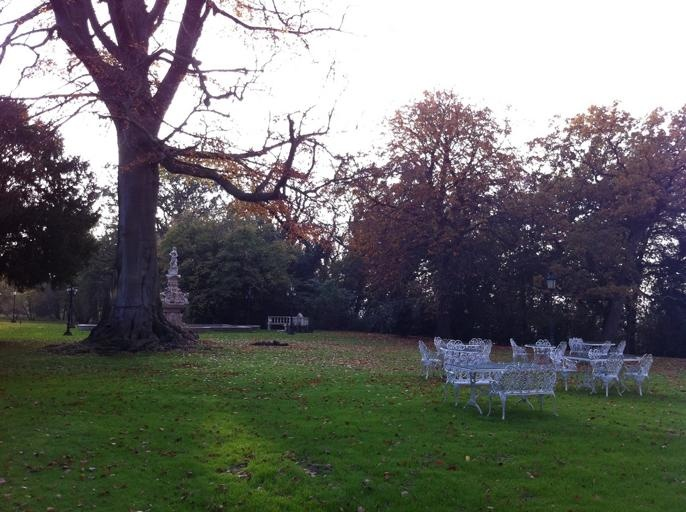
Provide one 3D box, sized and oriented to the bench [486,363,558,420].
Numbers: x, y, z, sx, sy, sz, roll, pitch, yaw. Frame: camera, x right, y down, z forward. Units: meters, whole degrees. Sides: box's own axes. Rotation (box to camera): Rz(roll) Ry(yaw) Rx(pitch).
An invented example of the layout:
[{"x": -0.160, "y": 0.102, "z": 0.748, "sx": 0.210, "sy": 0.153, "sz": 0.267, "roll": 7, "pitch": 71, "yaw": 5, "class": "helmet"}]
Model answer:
[{"x": 4.681, "y": 3.394, "z": 17.451, "sx": 1.807, "sy": 1.464, "sz": 1.337, "roll": 0, "pitch": -2, "yaw": -8, "class": "bench"}]
